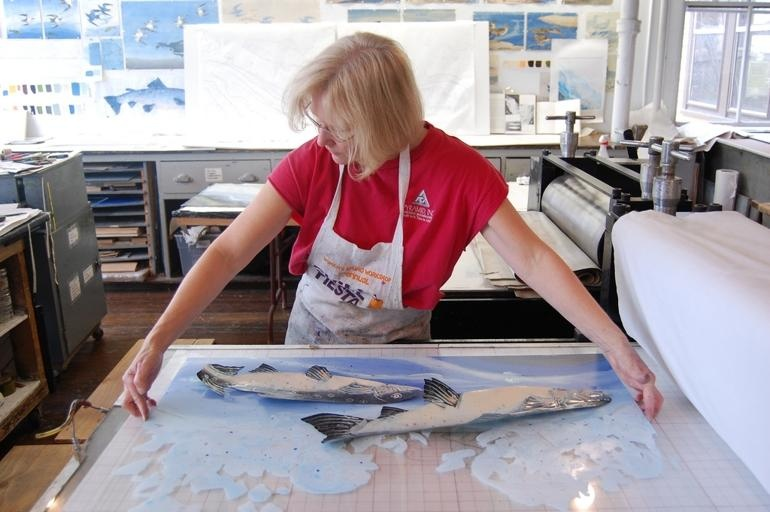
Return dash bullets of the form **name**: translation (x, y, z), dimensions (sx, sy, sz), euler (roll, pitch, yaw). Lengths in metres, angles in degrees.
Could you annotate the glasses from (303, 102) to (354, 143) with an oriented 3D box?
- **glasses**: translation (-0.148, -0.340, 1.297), dimensions (0.105, 0.034, 0.106), euler (39, -10, 9)
